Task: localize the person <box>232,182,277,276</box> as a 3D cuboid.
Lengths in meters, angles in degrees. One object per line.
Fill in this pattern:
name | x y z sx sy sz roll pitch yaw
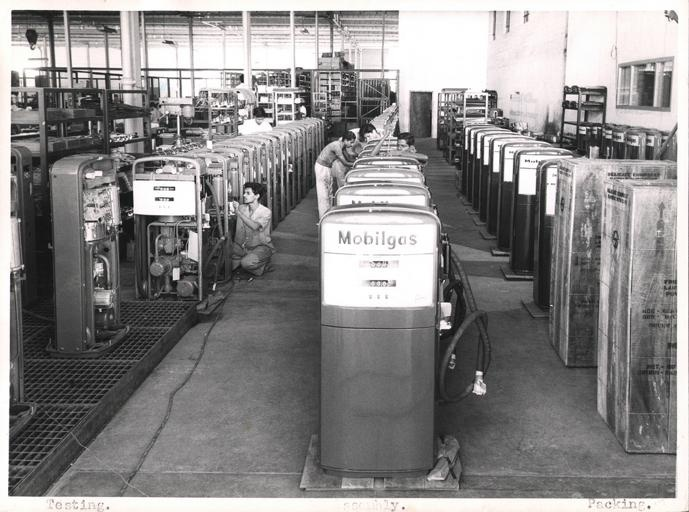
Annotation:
person | -1.455 -0.445 9.523 0.628 1.398 0.772 2 14 9
